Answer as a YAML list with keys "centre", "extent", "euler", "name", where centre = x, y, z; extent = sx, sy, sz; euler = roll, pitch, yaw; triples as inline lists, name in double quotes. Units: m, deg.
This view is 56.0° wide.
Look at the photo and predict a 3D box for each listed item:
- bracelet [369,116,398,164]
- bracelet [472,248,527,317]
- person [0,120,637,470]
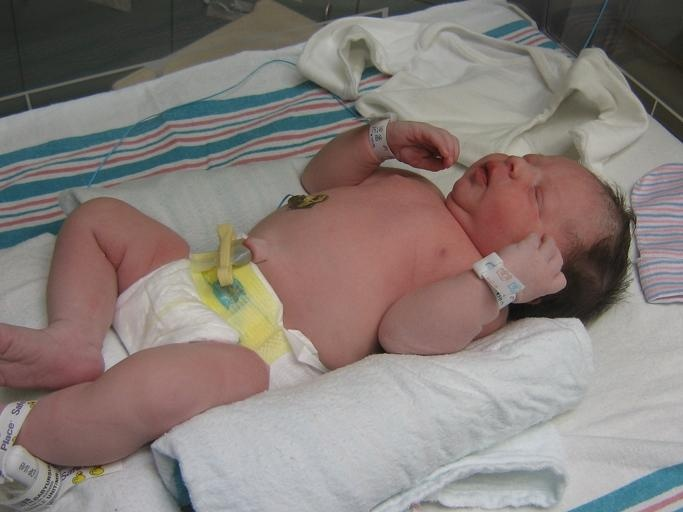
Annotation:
- centre: [0.101, -0.313, 1.713]
  extent: [0.048, 0.099, 0.098]
  euler: [-6, 77, 7]
  name: "bracelet"
- centre: [0.350, 0.054, 1.444]
  extent: [0.093, 0.046, 0.123]
  euler: [-39, 72, -6]
  name: "bracelet"
- centre: [0.062, 0.172, 1.704]
  extent: [1.530, 0.450, 0.660]
  euler: [-14, 48, -9]
  name: "person"
